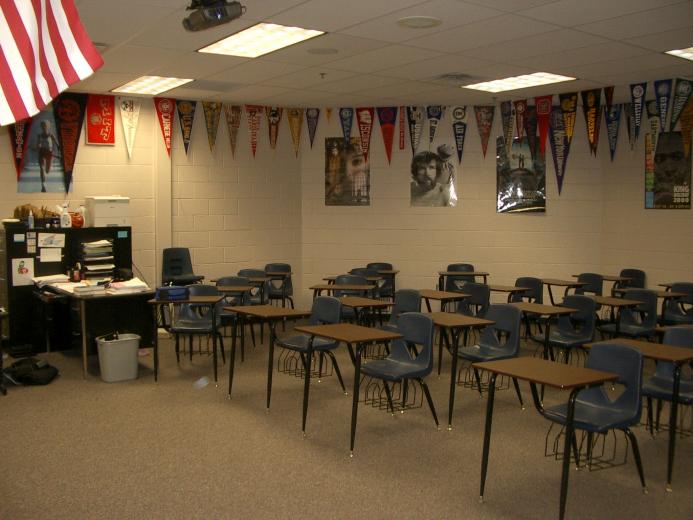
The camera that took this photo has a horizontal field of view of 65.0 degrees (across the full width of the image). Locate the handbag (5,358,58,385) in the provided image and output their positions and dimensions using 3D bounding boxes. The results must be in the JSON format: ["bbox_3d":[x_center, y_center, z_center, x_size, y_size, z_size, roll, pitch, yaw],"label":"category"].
[{"bbox_3d":[-3.866,1.381,6.642,0.572,0.179,0.447,-1,7,-7],"label":"handbag"}]

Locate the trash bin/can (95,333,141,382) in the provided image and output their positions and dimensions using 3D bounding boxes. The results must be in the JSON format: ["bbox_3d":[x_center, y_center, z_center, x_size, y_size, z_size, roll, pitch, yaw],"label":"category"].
[{"bbox_3d":[-2.840,1.160,6.843,0.730,0.619,0.485,2,-4,-34],"label":"trash bin/can"}]

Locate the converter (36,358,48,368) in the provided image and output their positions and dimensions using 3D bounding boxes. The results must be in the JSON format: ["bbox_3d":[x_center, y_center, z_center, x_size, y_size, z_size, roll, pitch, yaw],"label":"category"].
[{"bbox_3d":[-3.895,1.316,6.941,0.095,0.048,0.068,3,4,7],"label":"converter"}]

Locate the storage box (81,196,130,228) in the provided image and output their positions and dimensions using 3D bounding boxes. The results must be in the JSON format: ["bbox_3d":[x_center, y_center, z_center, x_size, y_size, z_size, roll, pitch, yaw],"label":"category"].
[{"bbox_3d":[-3.577,-0.727,8.128,0.612,0.433,0.320,-3,8,-21],"label":"storage box"}]

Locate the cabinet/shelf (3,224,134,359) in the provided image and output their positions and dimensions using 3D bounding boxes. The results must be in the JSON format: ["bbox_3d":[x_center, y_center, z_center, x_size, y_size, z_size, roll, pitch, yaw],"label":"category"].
[{"bbox_3d":[-3.897,0.467,7.473,1.806,1.760,0.585,-2,2,-37],"label":"cabinet/shelf"}]
